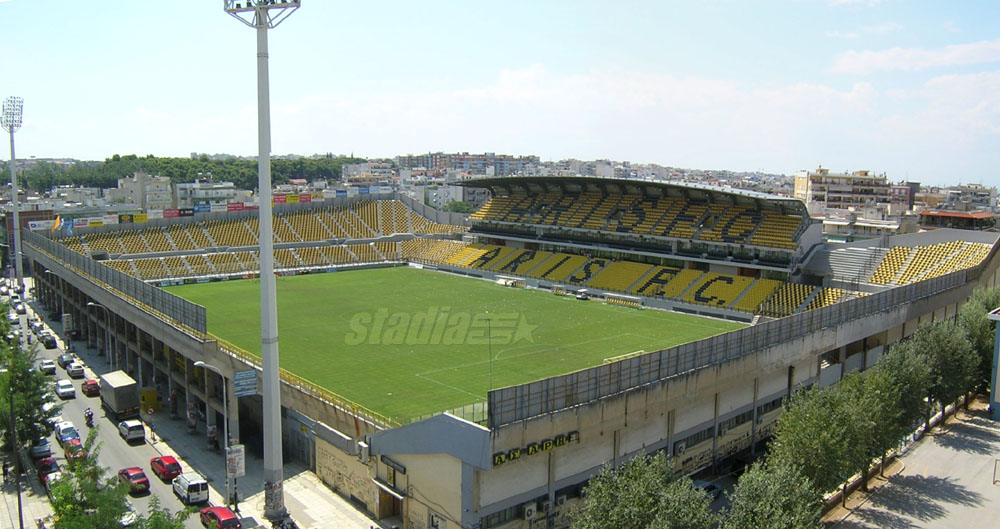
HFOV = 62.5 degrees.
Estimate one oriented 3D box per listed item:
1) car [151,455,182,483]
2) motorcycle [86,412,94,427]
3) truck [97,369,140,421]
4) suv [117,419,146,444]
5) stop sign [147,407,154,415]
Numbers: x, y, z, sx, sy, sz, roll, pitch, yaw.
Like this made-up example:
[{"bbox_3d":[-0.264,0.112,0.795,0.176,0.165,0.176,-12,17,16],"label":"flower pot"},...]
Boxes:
[{"bbox_3d":[-35.295,21.445,87.234,3.959,1.492,1.991,24,23,34],"label":"car"},{"bbox_3d":[-47.059,17.484,94.423,0.954,1.569,2.369,-7,14,-26],"label":"motorcycle"},{"bbox_3d":[-44.532,15.461,96.368,4.449,4.477,3.057,10,17,38],"label":"truck"},{"bbox_3d":[-41.359,18.514,92.576,3.231,1.434,2.112,23,22,39],"label":"suv"},{"bbox_3d":[-41.188,17.186,97.037,0.779,0.650,0.303,4,-5,-27],"label":"stop sign"}]
